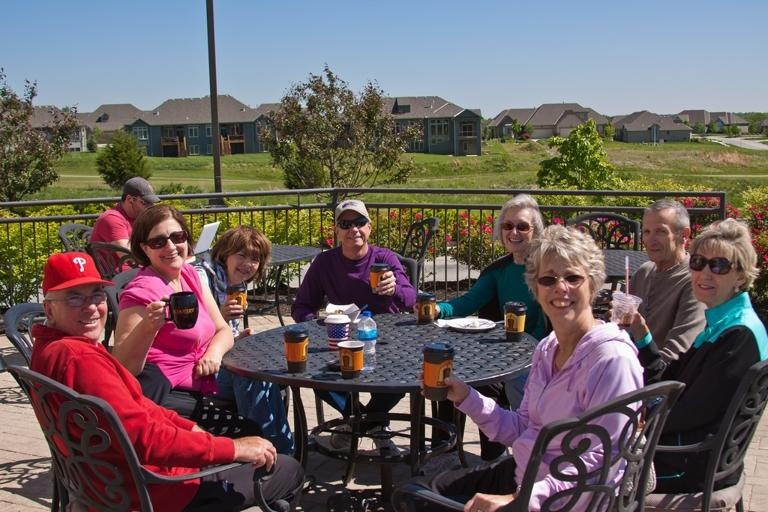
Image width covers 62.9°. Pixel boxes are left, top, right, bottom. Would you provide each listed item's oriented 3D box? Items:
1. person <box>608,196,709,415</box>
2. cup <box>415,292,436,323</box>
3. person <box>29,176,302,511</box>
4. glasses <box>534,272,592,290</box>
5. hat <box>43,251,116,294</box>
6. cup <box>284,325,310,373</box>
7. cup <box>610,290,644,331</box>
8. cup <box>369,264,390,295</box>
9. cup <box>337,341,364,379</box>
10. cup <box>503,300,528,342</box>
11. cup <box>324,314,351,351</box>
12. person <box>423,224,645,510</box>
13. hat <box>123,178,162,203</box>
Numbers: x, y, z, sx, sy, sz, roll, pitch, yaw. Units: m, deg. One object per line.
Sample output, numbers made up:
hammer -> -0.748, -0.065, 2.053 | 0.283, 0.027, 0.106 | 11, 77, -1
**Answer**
person -> 1.927, 0.278, 4.480 | 0.656, 1.232, 0.744 | 6, 2, -17
cup -> 0.299, 0.367, 4.422 | 0.135, 0.219, 0.141 | 0, 6, 0
person -> -1.183, 0.535, 3.512 | 1.135, 1.490, 1.377 | -3, 7, -11
glasses -> 0.851, 0.115, 3.000 | 0.212, 0.063, 0.049 | -1, 7, 5
hat -> -1.498, 0.076, 3.056 | 0.298, 0.192, 0.216 | -7, 8, -35
cup -> -0.500, 0.538, 3.560 | 0.146, 0.222, 0.149 | -1, -1, 0
cup -> 1.312, 0.294, 3.453 | 0.172, 0.166, 0.174 | 3, 13, -1
cup -> -0.039, 0.159, 4.634 | 0.125, 0.208, 0.135 | -2, 7, 0
cup -> -0.184, 0.572, 3.463 | 0.166, 0.179, 0.170 | -1, -2, 0
cup -> 0.836, 0.413, 4.118 | 0.197, 0.282, 0.206 | -2, 10, 0
cup -> -0.318, 0.467, 3.894 | 0.175, 0.183, 0.183 | 0, 9, 0
person -> 0.762, 0.531, 3.040 | 0.902, 1.338, 0.442 | 1, 8, 23
hat -> -2.361, -0.645, 6.091 | 0.321, 0.180, 0.226 | 14, 8, -18
